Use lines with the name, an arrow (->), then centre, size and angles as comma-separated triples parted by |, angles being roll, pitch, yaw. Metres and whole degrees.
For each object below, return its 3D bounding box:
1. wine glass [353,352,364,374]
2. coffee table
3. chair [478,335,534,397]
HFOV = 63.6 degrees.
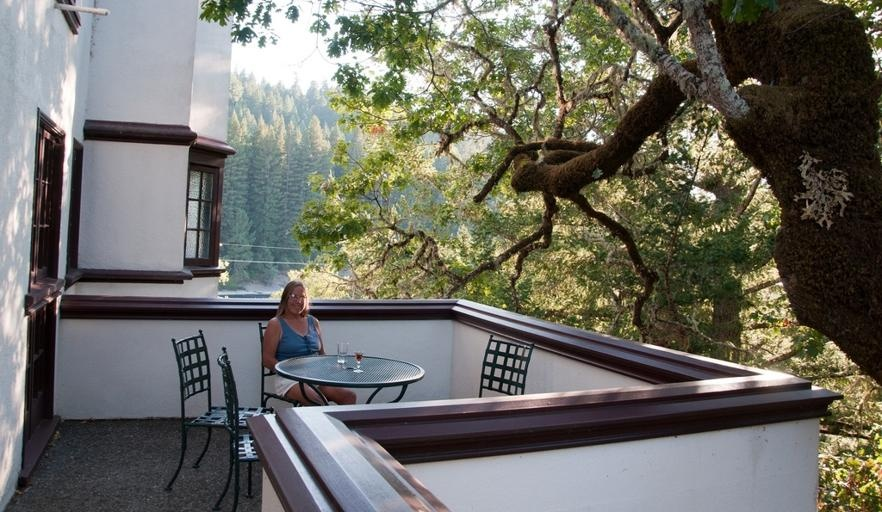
wine glass -> -0.861, 1.102, 7.329 | 0.160, 0.201, 0.147 | -2, 0, 11
coffee table -> -0.951, 1.302, 7.252 | 1.467, 0.476, 0.977 | 2, 4, -11
chair -> 0.696, 1.280, 7.856 | 0.536, 0.770, 1.100 | 3, 4, -3
